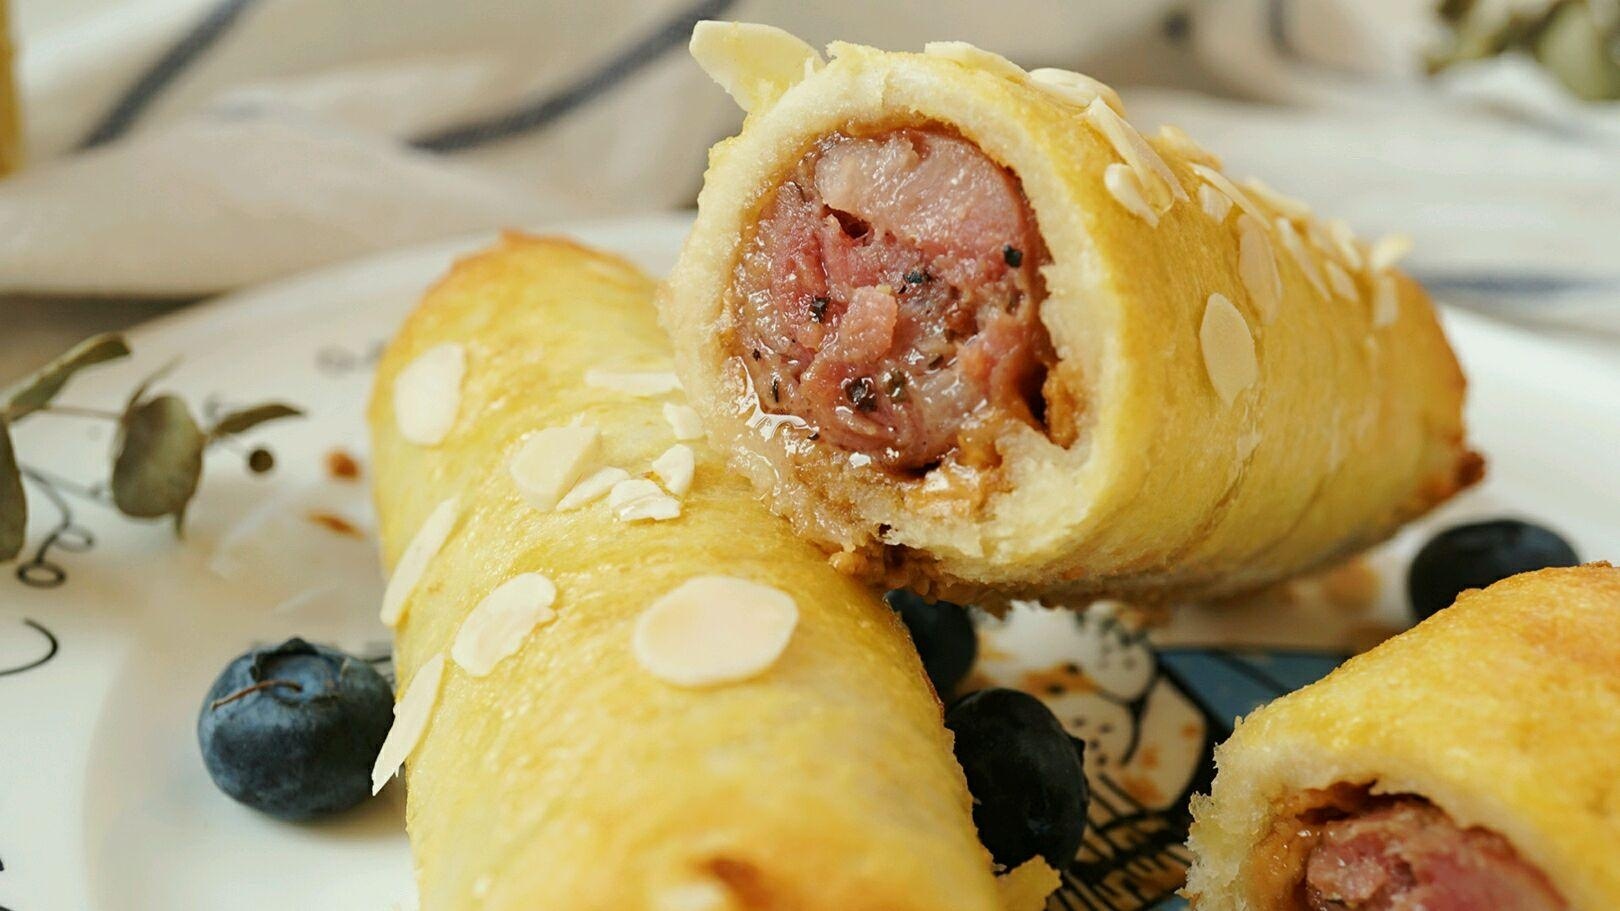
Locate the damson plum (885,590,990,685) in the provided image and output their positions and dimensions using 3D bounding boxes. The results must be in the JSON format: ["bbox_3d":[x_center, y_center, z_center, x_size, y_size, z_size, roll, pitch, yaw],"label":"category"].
[{"bbox_3d":[0.316,0.431,4.282,0.124,0.233,0.220,3,79,56],"label":"damson plum"}]
